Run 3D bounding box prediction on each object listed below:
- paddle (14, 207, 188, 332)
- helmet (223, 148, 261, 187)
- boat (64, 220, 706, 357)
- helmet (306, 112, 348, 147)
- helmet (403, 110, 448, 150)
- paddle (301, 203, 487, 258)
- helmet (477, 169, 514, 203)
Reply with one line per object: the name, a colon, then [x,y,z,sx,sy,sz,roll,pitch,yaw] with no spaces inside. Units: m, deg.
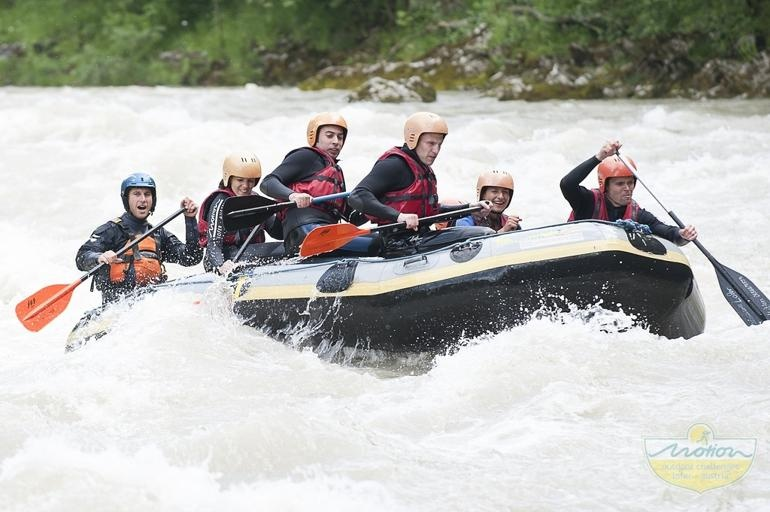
paddle: [-3.147,0.190,10.115,2.861,0.474,0.122,-28,9,-2]
helmet: [-1.486,-0.878,9.626,0.367,0.334,0.453,-2,8,-21]
boat: [0.570,0.359,8.566,3.991,0.835,2.281,-13,-6,17]
helmet: [-0.664,-1.224,9.101,0.351,0.285,0.301,-14,-2,13]
helmet: [0.360,-1.141,8.651,0.325,0.309,0.430,2,6,-40]
paddle: [0.058,-0.222,8.594,1.583,0.170,0.216,-10,47,8]
helmet: [1.063,-0.680,9.034,0.283,0.290,0.336,3,12,-1]
